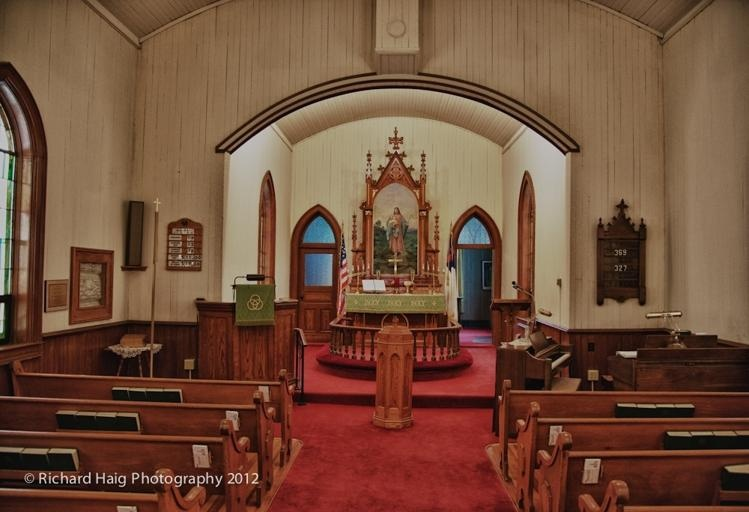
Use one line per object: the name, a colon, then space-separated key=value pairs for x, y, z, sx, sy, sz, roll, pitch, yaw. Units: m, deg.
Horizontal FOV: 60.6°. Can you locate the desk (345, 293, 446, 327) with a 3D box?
desk: x=0.442 y=1.116 z=13.054 sx=1.999 sy=0.823 sz=0.961 roll=0 pitch=12 yaw=-3

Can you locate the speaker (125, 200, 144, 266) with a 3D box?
speaker: x=-3.692 y=-0.354 z=9.994 sx=0.191 sy=1.026 sz=0.117 roll=4 pitch=9 yaw=-12

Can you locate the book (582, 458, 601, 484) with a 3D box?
book: x=2.076 y=2.038 z=6.116 sx=0.208 sy=0.342 sz=0.045 roll=1 pitch=-1 yaw=8

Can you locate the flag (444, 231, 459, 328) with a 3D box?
flag: x=1.685 y=0.454 z=14.143 sx=0.188 sy=1.872 sz=0.259 roll=4 pitch=-7 yaw=-25

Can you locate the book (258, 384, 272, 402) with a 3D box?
book: x=-1.293 y=1.609 z=7.556 sx=0.166 sy=0.210 sz=0.044 roll=-1 pitch=-6 yaw=-23

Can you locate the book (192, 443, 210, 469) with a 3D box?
book: x=-1.696 y=1.949 z=6.269 sx=0.213 sy=0.341 sz=0.042 roll=-1 pitch=0 yaw=-3

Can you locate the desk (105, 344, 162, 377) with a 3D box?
desk: x=-3.634 y=1.588 z=9.726 sx=0.384 sy=0.510 sz=0.680 roll=7 pitch=-10 yaw=-16
